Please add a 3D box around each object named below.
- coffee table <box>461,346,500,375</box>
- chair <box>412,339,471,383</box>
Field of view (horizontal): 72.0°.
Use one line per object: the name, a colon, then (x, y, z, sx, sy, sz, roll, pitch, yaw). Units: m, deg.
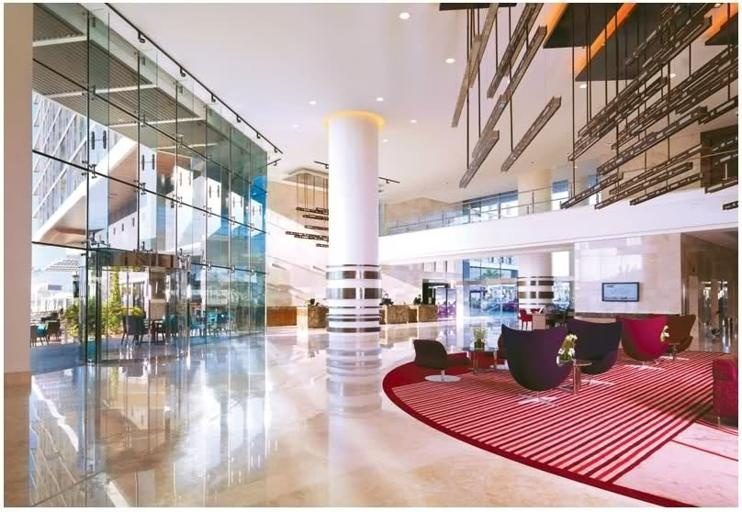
coffee table: (2.719, 2.546, 12.457, 0.713, 0.414, 0.782, -3, -4, 28)
chair: (1.635, 2.292, 11.252, 0.855, 0.726, 0.908, 5, -6, 43)
